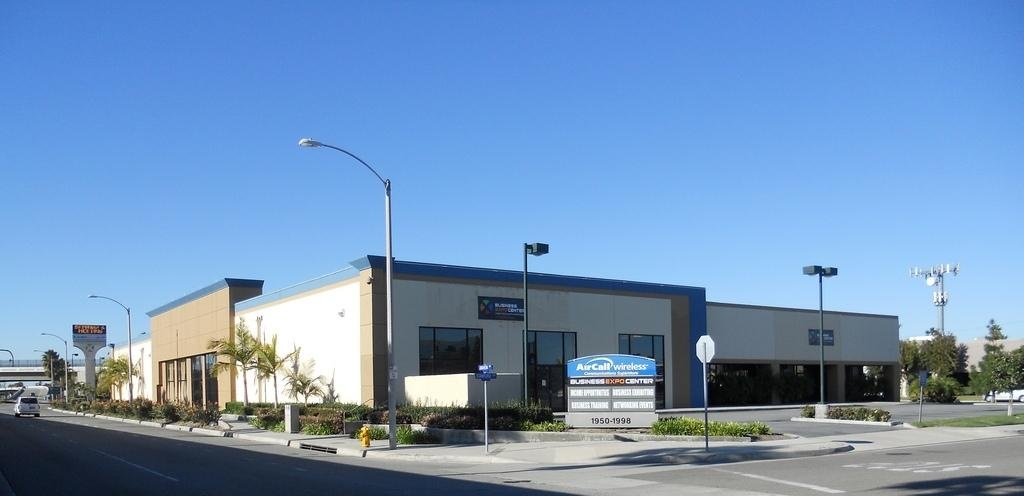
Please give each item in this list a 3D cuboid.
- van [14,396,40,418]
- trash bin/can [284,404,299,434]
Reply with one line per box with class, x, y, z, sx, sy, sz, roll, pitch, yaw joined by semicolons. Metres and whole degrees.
van;-57.688;18.781;104.748;2.177;1.831;4.452;2;-3;-31
trash bin/can;-18.807;14.463;74.759;1.349;2.362;0.713;-8;-14;30
